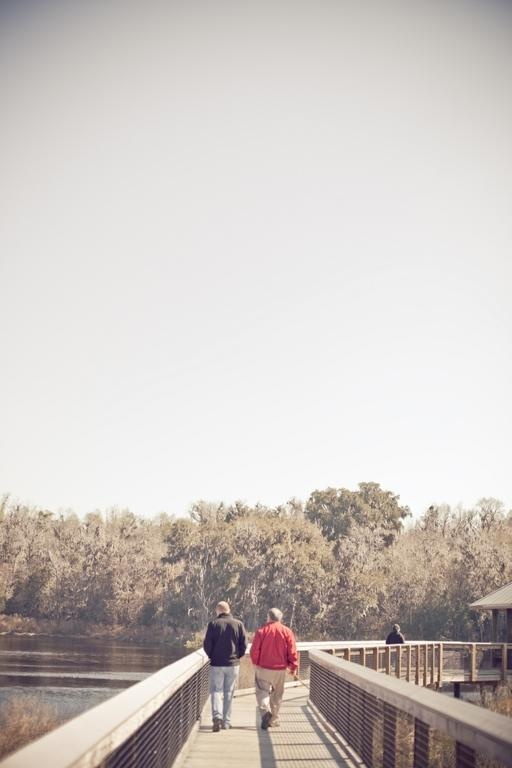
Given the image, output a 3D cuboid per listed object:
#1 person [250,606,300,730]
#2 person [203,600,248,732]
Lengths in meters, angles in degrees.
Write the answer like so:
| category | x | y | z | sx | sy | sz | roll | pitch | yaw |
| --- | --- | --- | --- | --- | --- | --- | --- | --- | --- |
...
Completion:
| category | x | y | z | sx | sy | sz | roll | pitch | yaw |
| --- | --- | --- | --- | --- | --- | --- | --- | --- | --- |
| person | 0.195 | 3.180 | 9.632 | 0.431 | 1.409 | 0.479 | -2 | 11 | -15 |
| person | -0.362 | 3.190 | 9.705 | 0.484 | 1.361 | 1.321 | 0 | -12 | -2 |
